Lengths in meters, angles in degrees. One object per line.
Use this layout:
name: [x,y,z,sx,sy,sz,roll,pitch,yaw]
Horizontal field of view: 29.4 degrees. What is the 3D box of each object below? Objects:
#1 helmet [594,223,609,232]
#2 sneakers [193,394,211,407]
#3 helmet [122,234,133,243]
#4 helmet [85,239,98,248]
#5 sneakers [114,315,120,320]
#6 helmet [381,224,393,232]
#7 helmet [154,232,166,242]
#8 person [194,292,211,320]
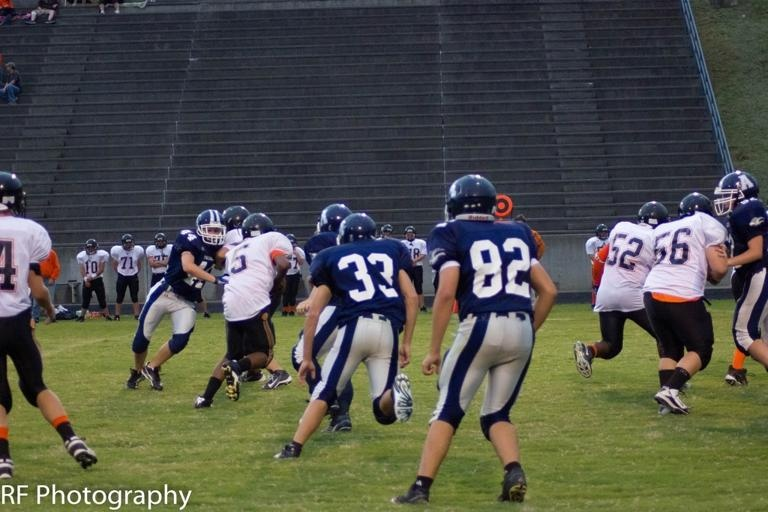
helmet: [6.079,-0.818,40.224,0.290,0.290,0.350,5,-6,-12]
sneakers: [-3.788,3.025,30.436,0.373,0.220,0.194,4,-6,3]
helmet: [-7.103,-0.527,40.204,0.265,0.249,0.324,-4,-8,-20]
helmet: [-8.103,-0.378,40.337,0.322,0.288,0.374,-1,12,-9]
sneakers: [-7.349,1.669,40.049,0.144,0.135,0.134,2,-4,-16]
helmet: [0.085,-0.763,39.484,0.231,0.245,0.278,1,-20,-6]
helmet: [-6.108,-0.501,39.765,0.295,0.289,0.372,0,19,-11]
person: [-4.703,1.263,37.762,0.272,0.492,0.949,4,-5,-4]
